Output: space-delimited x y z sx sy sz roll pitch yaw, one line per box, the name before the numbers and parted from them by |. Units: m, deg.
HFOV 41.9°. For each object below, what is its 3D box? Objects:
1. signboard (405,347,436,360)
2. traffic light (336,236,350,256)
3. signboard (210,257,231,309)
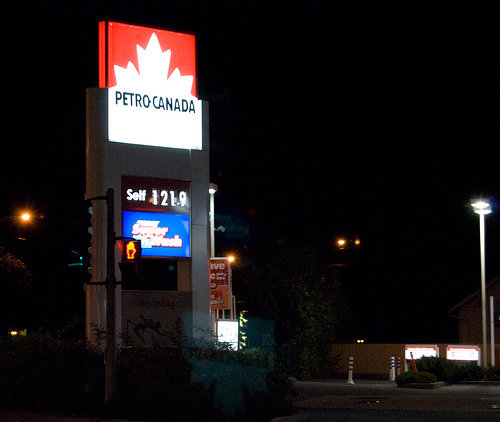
signboard | 8.781 7.207 33.309 1.484 0.638 0.777 -3 -13 10
traffic light | 7.229 2.712 50.157 0.336 1.421 1.444 3 5 -9
signboard | -1.391 3.365 30.721 0.916 2.308 0.610 0 -11 -3
